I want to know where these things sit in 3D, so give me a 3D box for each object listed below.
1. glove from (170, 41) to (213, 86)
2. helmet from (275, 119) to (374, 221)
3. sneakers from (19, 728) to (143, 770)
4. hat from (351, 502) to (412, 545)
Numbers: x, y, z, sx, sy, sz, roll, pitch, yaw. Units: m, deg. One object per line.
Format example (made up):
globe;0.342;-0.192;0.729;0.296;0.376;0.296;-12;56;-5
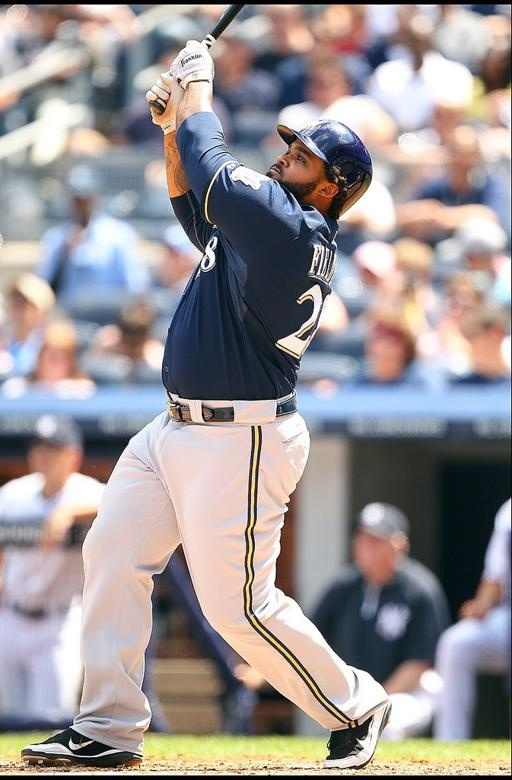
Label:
glove;-0.171;-0.852;3.248;0.119;0.057;0.134;1;71;-24
helmet;0.159;-0.582;3.222;0.310;0.224;0.213;-4;16;-28
sneakers;-0.455;0.944;3.242;0.318;0.107;0.125;7;78;-4
hat;0.602;0.626;5.713;0.212;0.218;0.086;4;69;41
